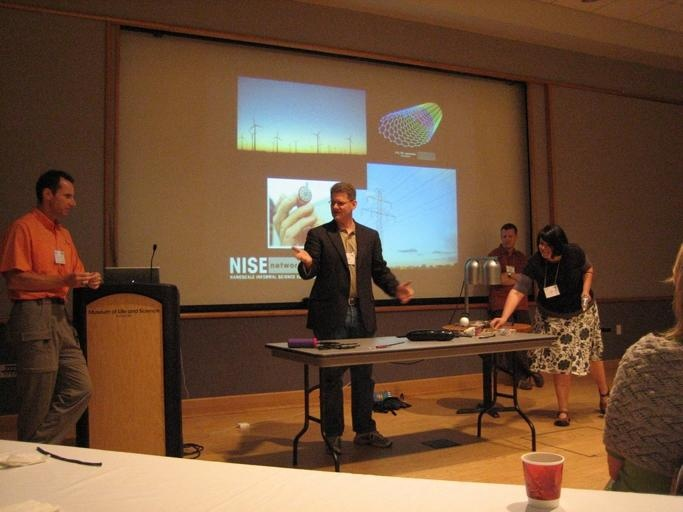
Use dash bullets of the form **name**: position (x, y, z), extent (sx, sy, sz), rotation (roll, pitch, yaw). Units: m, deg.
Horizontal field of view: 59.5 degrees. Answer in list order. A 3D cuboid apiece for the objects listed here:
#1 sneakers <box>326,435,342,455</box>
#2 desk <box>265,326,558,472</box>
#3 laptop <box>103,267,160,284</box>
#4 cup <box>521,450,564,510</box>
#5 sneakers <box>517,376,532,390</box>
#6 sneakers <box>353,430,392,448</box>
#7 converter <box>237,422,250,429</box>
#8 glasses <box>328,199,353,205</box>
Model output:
- **sneakers**: position (-0.051, 1.408, 4.449), extent (0.079, 0.119, 0.286), rotation (-1, -17, 5)
- **desk**: position (0.619, 1.148, 4.591), extent (2.260, 1.027, 0.789), rotation (3, -2, -32)
- **laptop**: position (-1.473, 0.136, 4.170), extent (0.353, 0.115, 0.245), rotation (-1, 1, -12)
- **cup**: position (0.692, 0.799, 2.153), extent (0.153, 0.183, 0.170), rotation (0, -7, -1)
- **sneakers**: position (1.976, 1.369, 6.469), extent (0.155, 0.100, 0.222), rotation (2, -4, -5)
- **sneakers**: position (0.240, 1.444, 4.740), extent (0.324, 0.158, 0.118), rotation (-2, -7, 10)
- **converter**: position (-0.871, 1.500, 5.297), extent (0.100, 0.039, 0.150), rotation (-1, 1, -10)
- **glasses**: position (0.016, -0.409, 4.547), extent (0.186, 0.048, 0.089), rotation (-1, 1, -11)
